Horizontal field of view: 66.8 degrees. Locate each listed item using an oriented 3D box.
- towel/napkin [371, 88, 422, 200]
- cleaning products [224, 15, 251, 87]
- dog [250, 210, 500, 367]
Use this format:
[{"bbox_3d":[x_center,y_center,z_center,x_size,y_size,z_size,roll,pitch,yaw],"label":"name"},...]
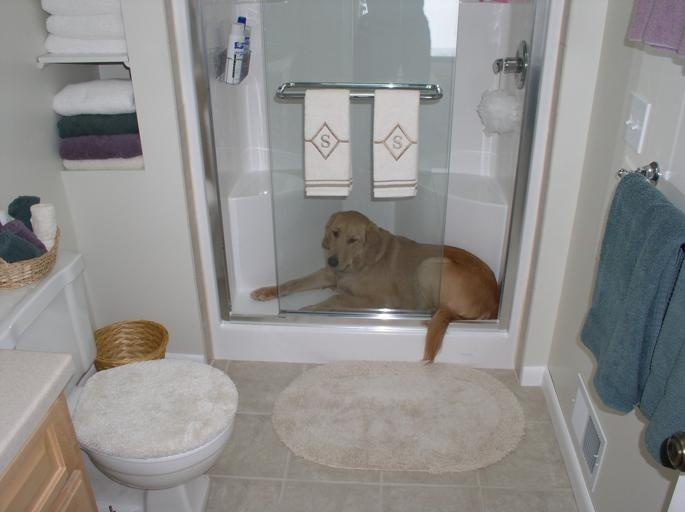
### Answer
[{"bbox_3d":[0.208,-0.458,2.036,0.232,0.551,0.288,0,35,2],"label":"towel/napkin"},{"bbox_3d":[-0.428,-0.861,2.168,0.100,0.259,0.142,9,26,23],"label":"cleaning products"},{"bbox_3d":[0.202,0.213,2.403,0.742,0.341,0.650,7,47,-9],"label":"dog"}]
